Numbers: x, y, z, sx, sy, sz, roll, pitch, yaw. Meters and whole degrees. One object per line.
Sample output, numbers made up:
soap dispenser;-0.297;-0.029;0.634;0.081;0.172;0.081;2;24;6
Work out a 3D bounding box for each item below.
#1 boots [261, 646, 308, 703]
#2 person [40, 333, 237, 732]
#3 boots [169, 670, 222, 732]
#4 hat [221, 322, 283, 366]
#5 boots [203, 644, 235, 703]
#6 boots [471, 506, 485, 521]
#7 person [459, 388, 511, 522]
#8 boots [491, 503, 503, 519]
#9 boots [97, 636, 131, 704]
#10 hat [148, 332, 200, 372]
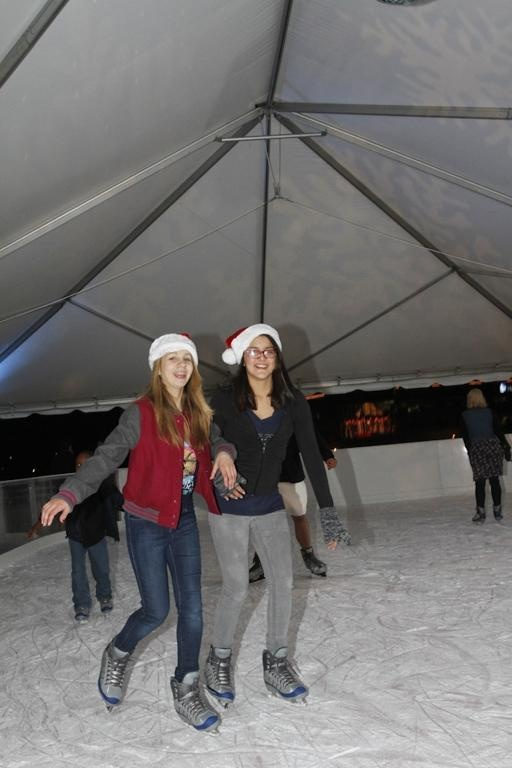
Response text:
boots;0.140;1.363;2.541;0.170;0.234;0.241;-2;-6;-24
person;-0.453;0.600;2.389;0.762;1.720;0.511;-2;-6;-21
boots;-0.225;1.339;2.305;0.129;0.234;0.329;-9;-20;-30
hat;-0.043;-0.248;2.878;0.280;0.221;0.213;-13;-20;21
boots;-0.166;1.334;2.465;0.104;0.153;0.307;8;-15;-11
boots;2.983;1.778;7.368;0.163;0.200;0.286;-6;-6;16
person;3.179;0.973;7.680;0.953;1.842;0.479;-1;-6;-34
boots;3.323;1.771;7.543;0.109;0.207;0.360;-7;-6;23
boots;-0.621;1.290;2.503;0.119;0.352;0.171;12;-37;-32
hat;-0.413;-0.175;2.666;0.192;0.141;0.194;5;-18;-17
